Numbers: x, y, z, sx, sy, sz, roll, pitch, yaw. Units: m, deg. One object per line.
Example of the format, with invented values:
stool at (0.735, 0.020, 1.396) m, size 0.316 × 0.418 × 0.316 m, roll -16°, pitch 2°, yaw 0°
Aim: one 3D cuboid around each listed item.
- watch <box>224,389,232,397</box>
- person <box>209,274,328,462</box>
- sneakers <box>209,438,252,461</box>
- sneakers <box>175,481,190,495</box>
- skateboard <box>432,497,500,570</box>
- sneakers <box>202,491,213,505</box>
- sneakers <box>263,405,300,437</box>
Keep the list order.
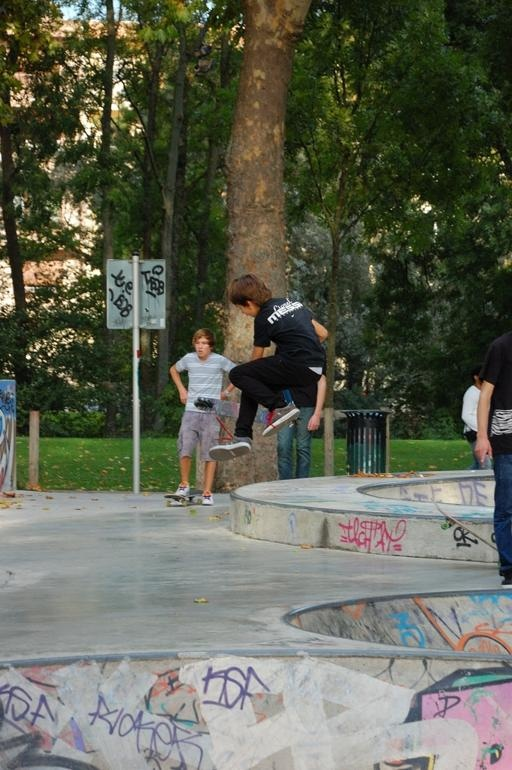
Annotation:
watch at (-0.278, 0.089, 10.616) m, size 0.054 × 0.027 × 0.073 m, roll -26°, pitch 15°, yaw 39°
person at (0.111, -0.104, 7.771) m, size 0.780 × 0.919 × 0.821 m, roll 1°, pitch 0°, yaw 2°
sneakers at (-0.161, 0.460, 7.928) m, size 0.341 × 0.131 × 0.138 m, roll -12°, pitch -43°, yaw 41°
sneakers at (-0.723, 1.035, 10.698) m, size 0.091 × 0.110 × 0.253 m, roll 2°, pitch -1°, yaw 5°
skateboard at (1.337, 0.923, 6.833) m, size 0.566 × 0.099 × 0.142 m, roll 32°, pitch -12°, yaw -4°
sneakers at (-0.471, 1.107, 10.484) m, size 0.125 × 0.138 × 0.338 m, roll 0°, pitch -6°, yaw -3°
sneakers at (0.166, 0.265, 7.675) m, size 0.125 × 0.140 × 0.364 m, roll 19°, pitch -44°, yaw -34°
